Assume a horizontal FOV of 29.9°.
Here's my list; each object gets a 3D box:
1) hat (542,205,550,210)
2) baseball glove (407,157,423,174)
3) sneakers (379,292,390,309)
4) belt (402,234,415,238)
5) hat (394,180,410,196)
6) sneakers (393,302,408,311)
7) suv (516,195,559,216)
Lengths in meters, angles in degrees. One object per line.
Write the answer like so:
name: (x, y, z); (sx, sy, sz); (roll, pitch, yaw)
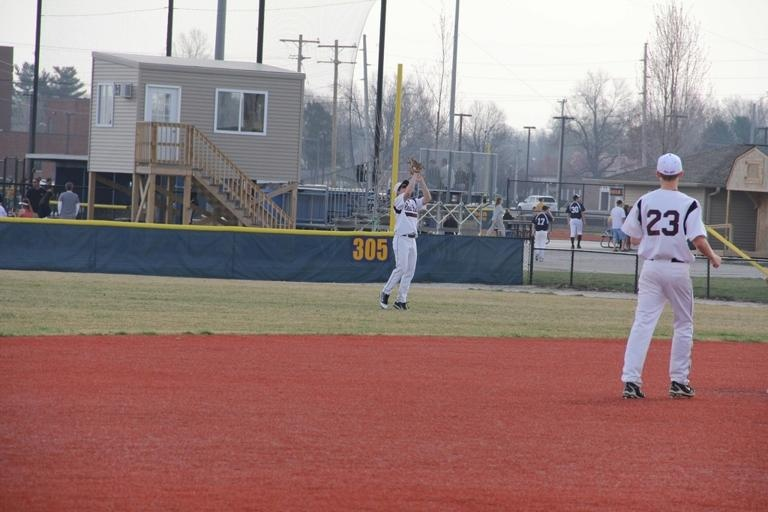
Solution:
hat: (6.459, -1.927, 57.223); (0.289, 0.269, 0.368); (0, -1, 3)
baseball glove: (0.951, -2.587, 40.990); (0.236, 0.482, 0.707); (-4, 16, -9)
sneakers: (-0.003, 1.273, 42.085); (0.244, 0.579, 0.201); (-34, -27, 25)
belt: (0.732, -0.549, 41.005); (0.310, 0.129, 0.075); (-1, 14, -13)
hat: (0.520, -1.921, 40.915); (0.298, 0.506, 0.839); (-3, 15, -18)
sneakers: (0.470, 1.490, 41.913); (0.513, 0.226, 0.169); (16, 11, -34)
suv: (10.047, -3.019, 96.399); (3.031, 1.400, 1.905); (7, 7, 42)
